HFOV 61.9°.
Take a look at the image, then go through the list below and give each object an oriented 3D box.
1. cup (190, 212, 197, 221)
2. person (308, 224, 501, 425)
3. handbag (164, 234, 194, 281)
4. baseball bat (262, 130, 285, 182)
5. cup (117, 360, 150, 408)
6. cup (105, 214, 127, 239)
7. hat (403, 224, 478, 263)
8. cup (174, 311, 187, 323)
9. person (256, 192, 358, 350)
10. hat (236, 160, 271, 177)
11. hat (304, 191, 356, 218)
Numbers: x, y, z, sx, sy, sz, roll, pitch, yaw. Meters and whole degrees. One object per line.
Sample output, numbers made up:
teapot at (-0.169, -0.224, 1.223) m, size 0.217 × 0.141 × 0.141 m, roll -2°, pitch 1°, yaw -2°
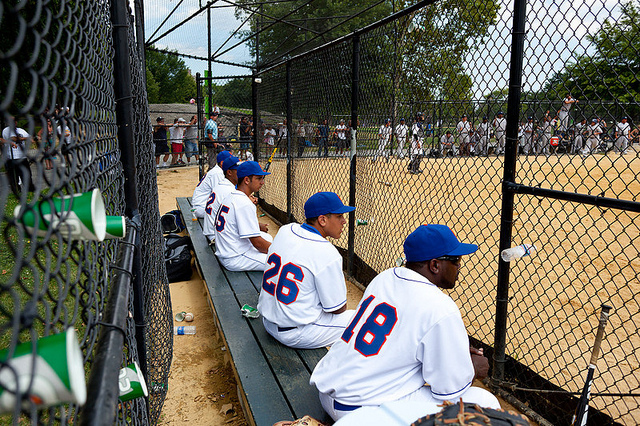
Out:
cup at (-1.902, 0.072, 8.102) m, size 0.116 × 0.059 × 0.169 m, roll 3°, pitch 10°, yaw -5°
person at (0.390, 0.682, 3.952) m, size 1.173 × 1.820 × 1.156 m, roll 5°, pitch 1°, yaw -18°
handbag at (-1.814, 0.594, 6.862) m, size 0.400 × 0.233 × 0.520 m, roll -4°, pitch 19°, yaw -8°
baseball bat at (-0.843, -1.144, 10.144) m, size 0.182 × 1.093 × 0.185 m, roll 28°, pitch 50°, yaw 1°
cup at (-0.884, 0.837, 2.641) m, size 0.208 × 0.173 × 0.215 m, roll -2°, pitch -11°, yaw 0°
cup at (-0.901, 0.058, 2.414) m, size 0.102 × 0.112 × 0.095 m, roll -1°, pitch 3°, yaw 0°
hat at (0.829, 0.205, 3.665) m, size 0.524 × 0.286 × 0.355 m, roll -10°, pitch -10°, yaw 9°
cup at (-1.481, 1.113, 5.703) m, size 0.087 × 0.100 × 0.094 m, roll -5°, pitch 7°, yaw 1°
person at (-0.115, 0.411, 4.588) m, size 0.806 × 1.283 × 0.939 m, roll -10°, pitch 26°, yaw -35°
hat at (-0.791, -0.492, 6.314) m, size 0.283 × 0.160 × 0.191 m, roll 5°, pitch 25°, yaw -25°
hat at (0.113, -0.074, 4.614) m, size 0.469 × 0.270 × 0.323 m, roll -2°, pitch 6°, yaw 30°
